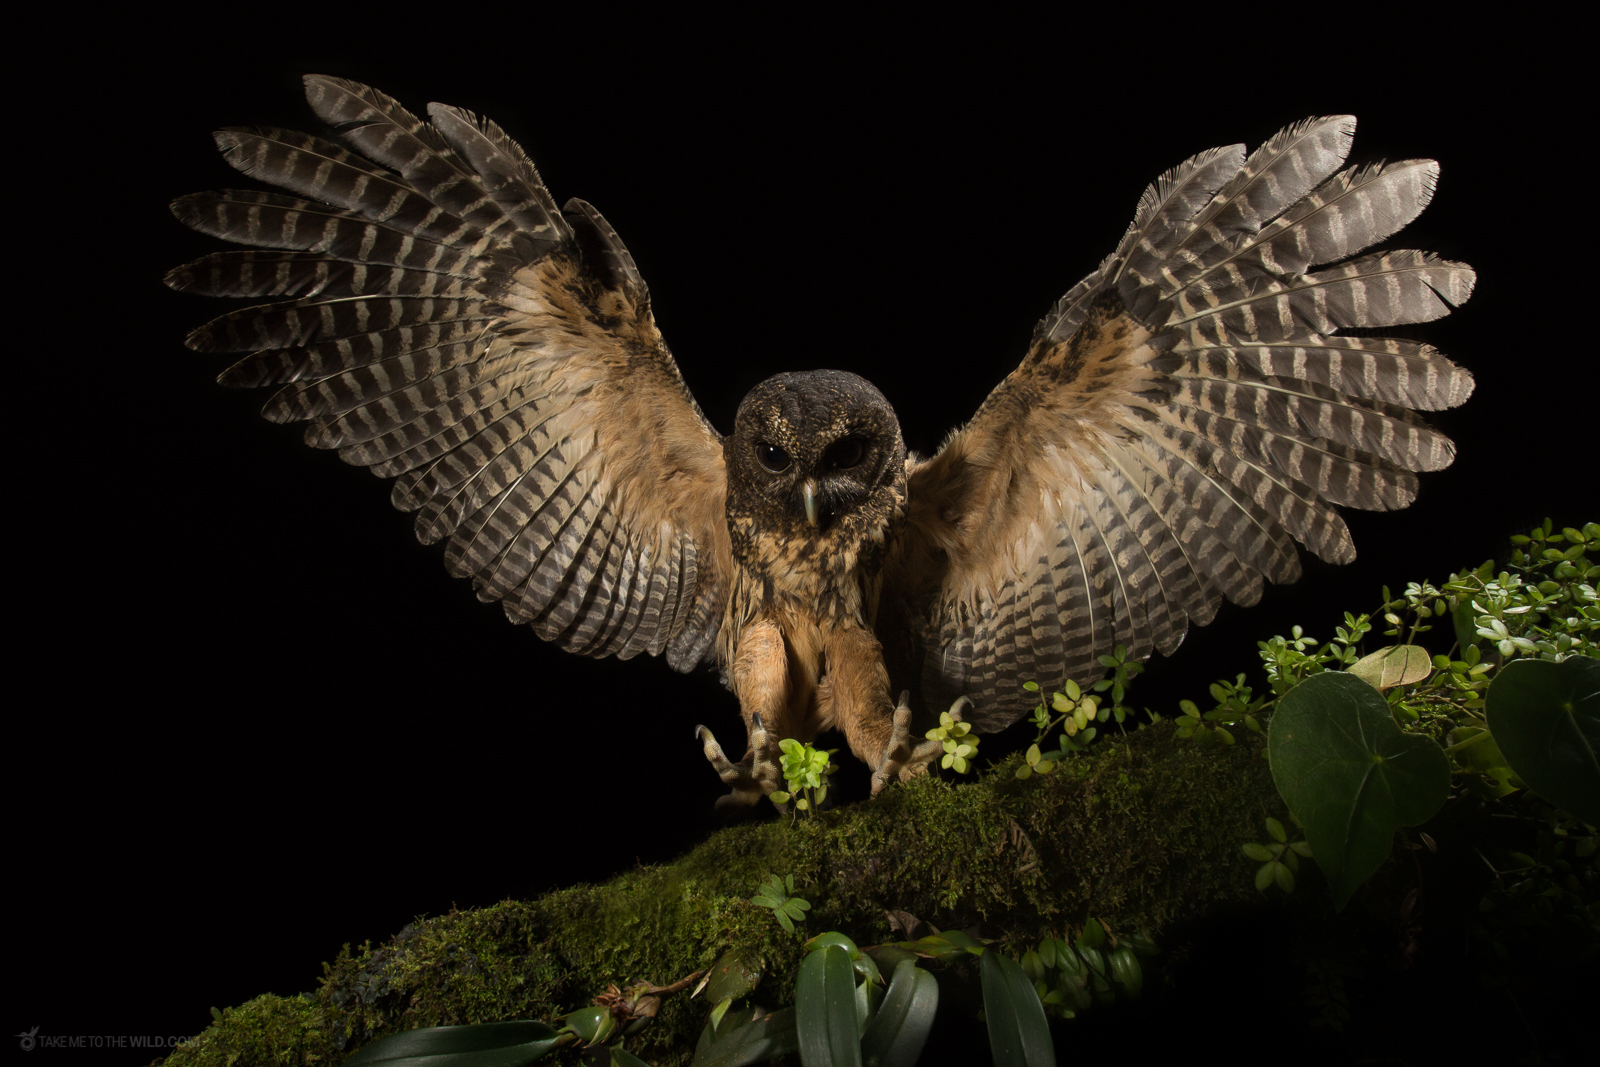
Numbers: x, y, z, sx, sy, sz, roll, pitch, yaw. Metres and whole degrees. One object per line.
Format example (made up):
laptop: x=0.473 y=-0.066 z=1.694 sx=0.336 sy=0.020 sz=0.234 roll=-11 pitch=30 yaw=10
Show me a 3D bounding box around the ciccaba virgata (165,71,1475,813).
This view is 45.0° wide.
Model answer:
ciccaba virgata: x=0.067 y=-0.162 z=4.374 sx=2.982 sy=1.019 sz=1.434 roll=4 pitch=-65 yaw=-11
